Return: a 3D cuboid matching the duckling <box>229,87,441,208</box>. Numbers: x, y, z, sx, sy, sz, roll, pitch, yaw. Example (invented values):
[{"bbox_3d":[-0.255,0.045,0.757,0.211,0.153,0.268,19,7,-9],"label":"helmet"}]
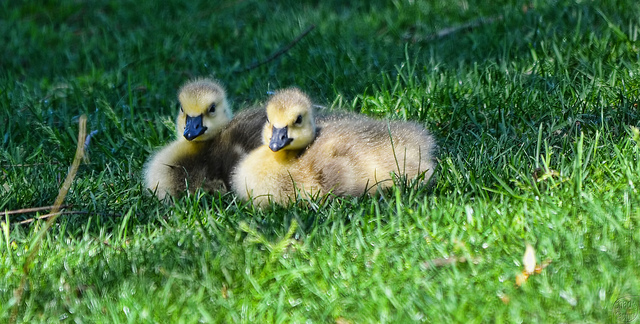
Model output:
[{"bbox_3d":[0.070,-0.227,6.890,2.326,1.113,0.936,-8,21,-3],"label":"duckling"}]
